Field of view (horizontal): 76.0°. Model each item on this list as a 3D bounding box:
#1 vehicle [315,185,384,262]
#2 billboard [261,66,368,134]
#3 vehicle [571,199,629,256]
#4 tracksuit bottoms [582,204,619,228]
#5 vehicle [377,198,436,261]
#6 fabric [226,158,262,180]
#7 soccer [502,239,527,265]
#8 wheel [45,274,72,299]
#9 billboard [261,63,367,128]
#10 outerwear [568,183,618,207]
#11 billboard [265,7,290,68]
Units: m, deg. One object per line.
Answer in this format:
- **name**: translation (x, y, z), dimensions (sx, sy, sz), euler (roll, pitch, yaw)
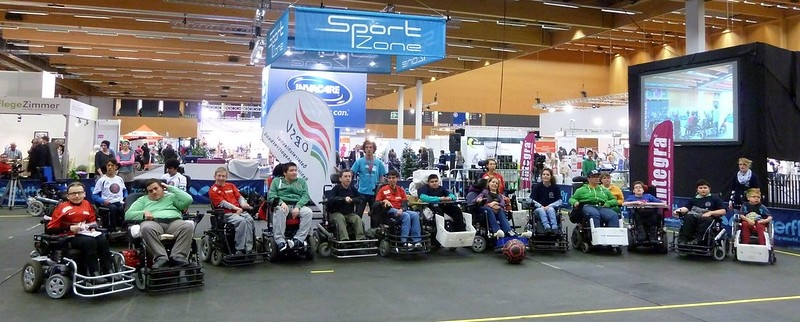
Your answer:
- **vehicle**: translation (-2.006, 3.009, 21.729), dimensions (2.529, 2.700, 3.382), euler (2, -7, -25)
- **billboard**: translation (-4.269, -3.175, 25.332), dimensions (5.689, 2.454, 1.607), euler (1, 0, -12)
- **vehicle**: translation (8.153, 3.056, 21.713), dimensions (2.046, 1.590, 2.199), euler (2, -13, -1)
- **tracksuit bottoms**: translation (8.243, 2.188, 21.239), dimensions (1.293, 0.416, 1.897), euler (1, 13, 8)
- **vehicle**: translation (0.228, 2.883, 21.421), dimensions (2.084, 2.098, 2.589), euler (3, -7, -23)
- **fabric**: translation (-8.031, 0.453, 26.533), dimensions (1.175, 0.627, 1.407), euler (7, 8, 41)
- **soccer**: translation (4.494, 3.561, 19.982), dimensions (1.102, 0.839, 0.950), euler (2, -3, 12)
- **wheel**: translation (-12.018, 4.462, 18.188), dimensions (1.095, 0.811, 0.312), euler (-4, -4, -7)
- **billboard**: translation (-4.549, -4.038, 28.811), dimensions (7.520, 3.341, 3.436), euler (0, 10, -4)
- **outerwear**: translation (8.028, 1.455, 21.284), dimensions (2.085, 0.845, 0.989), euler (0, 16, -6)
- **billboard**: translation (-5.635, -5.736, 23.908), dimensions (0.078, 2.177, 3.723), euler (10, -12, -29)
